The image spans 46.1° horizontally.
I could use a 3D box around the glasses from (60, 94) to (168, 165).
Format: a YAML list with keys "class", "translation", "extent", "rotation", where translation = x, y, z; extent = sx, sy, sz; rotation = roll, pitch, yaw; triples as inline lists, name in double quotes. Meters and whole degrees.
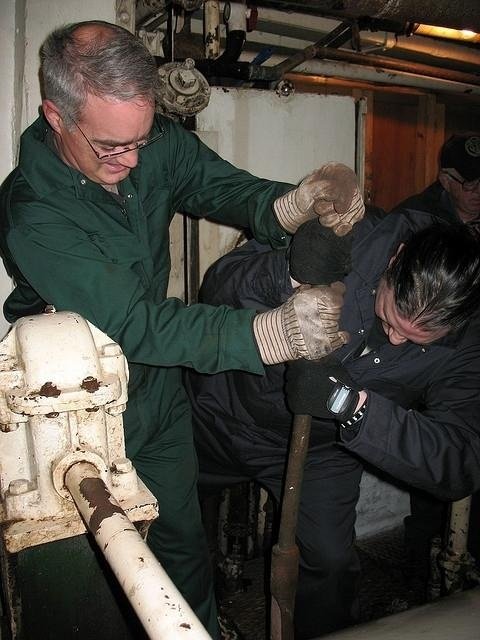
- class: "glasses"
  translation: [-0.362, -0.590, 1.620]
  extent: [0.181, 0.221, 0.225]
  rotation: [-32, -4, -36]

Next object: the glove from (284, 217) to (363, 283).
- class: "glove"
  translation: [0.217, -0.196, 1.694]
  extent: [0.175, 0.178, 0.215]
  rotation: [10, 28, -10]
